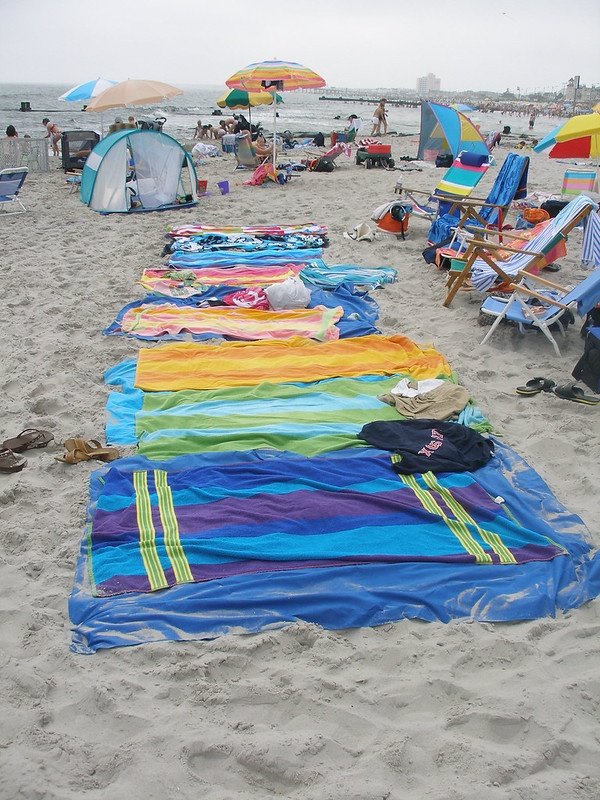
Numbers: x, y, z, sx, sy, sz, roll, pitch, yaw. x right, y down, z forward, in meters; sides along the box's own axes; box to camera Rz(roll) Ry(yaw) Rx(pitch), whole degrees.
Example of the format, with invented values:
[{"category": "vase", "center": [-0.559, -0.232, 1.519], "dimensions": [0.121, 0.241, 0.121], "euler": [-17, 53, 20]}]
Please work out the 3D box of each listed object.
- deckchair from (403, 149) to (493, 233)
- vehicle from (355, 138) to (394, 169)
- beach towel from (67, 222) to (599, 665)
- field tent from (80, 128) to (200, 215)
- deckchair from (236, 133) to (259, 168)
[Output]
[{"category": "deckchair", "center": [1.797, -2.693, 9.925], "dimensions": [0.674, 0.638, 1.054], "euler": [-4, -1, -42]}, {"category": "vehicle", "center": [1.564, -5.280, 16.814], "dimensions": [0.664, 0.502, 1.044], "euler": [-2, 31, -4]}, {"category": "beach towel", "center": [0.095, 0.434, 4.218], "dimensions": [2.414, 0.458, 2.424], "euler": [0, 16, -8]}, {"category": "field tent", "center": [-2.395, -3.409, 12.075], "dimensions": [1.812, 0.910, 1.611], "euler": [-10, 11, -33]}, {"category": "deckchair", "center": [-1.118, -4.983, 15.612], "dimensions": [0.454, 0.442, 0.737], "euler": [10, 34, 10]}]
